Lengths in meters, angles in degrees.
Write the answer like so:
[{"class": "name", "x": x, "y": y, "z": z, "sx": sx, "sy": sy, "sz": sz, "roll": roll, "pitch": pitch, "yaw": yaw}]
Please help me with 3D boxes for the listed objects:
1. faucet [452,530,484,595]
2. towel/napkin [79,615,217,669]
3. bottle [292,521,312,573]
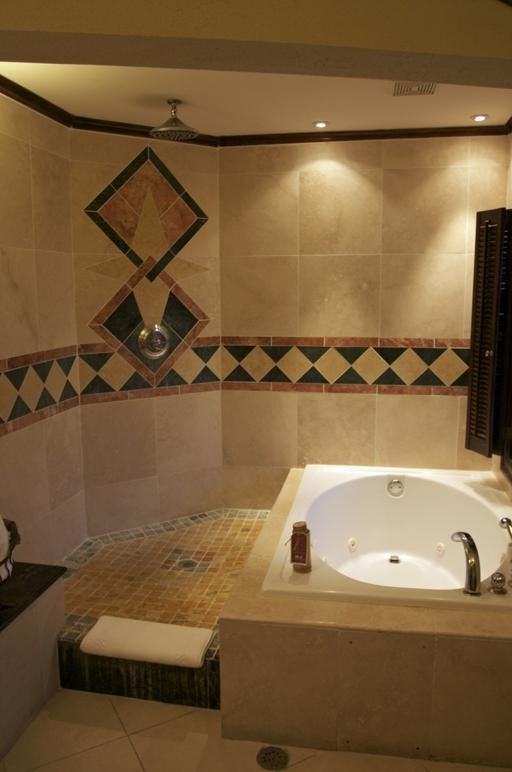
[{"class": "faucet", "x": 0.683, "y": 0.570, "z": 1.943, "sx": 0.085, "sy": 0.181, "sz": 0.277, "roll": 0, "pitch": 9, "yaw": 17}, {"class": "towel/napkin", "x": -0.374, "y": 0.850, "z": 1.982, "sx": 0.290, "sy": 0.046, "sz": 0.167, "roll": 4, "pitch": 17, "yaw": 10}, {"class": "bottle", "x": 0.151, "y": 0.545, "z": 2.021, "sx": 0.072, "sy": 0.161, "sz": 0.107, "roll": -2, "pitch": 8, "yaw": 4}]
